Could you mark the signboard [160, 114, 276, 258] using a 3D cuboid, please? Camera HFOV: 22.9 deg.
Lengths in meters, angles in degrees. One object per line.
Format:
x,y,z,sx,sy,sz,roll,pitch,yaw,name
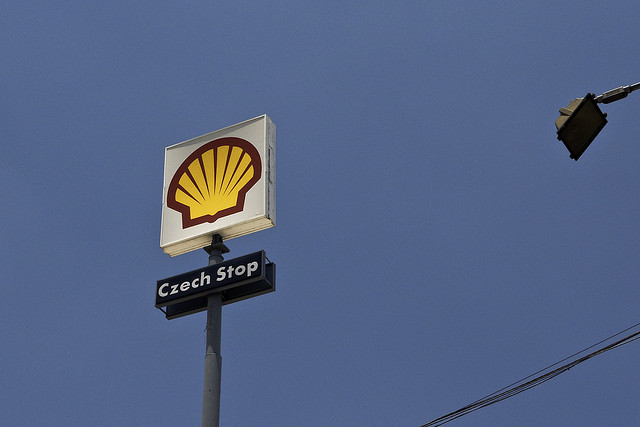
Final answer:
-3.017,-0.595,49.325,3.773,3.710,0.605,-21,-42,23,signboard
